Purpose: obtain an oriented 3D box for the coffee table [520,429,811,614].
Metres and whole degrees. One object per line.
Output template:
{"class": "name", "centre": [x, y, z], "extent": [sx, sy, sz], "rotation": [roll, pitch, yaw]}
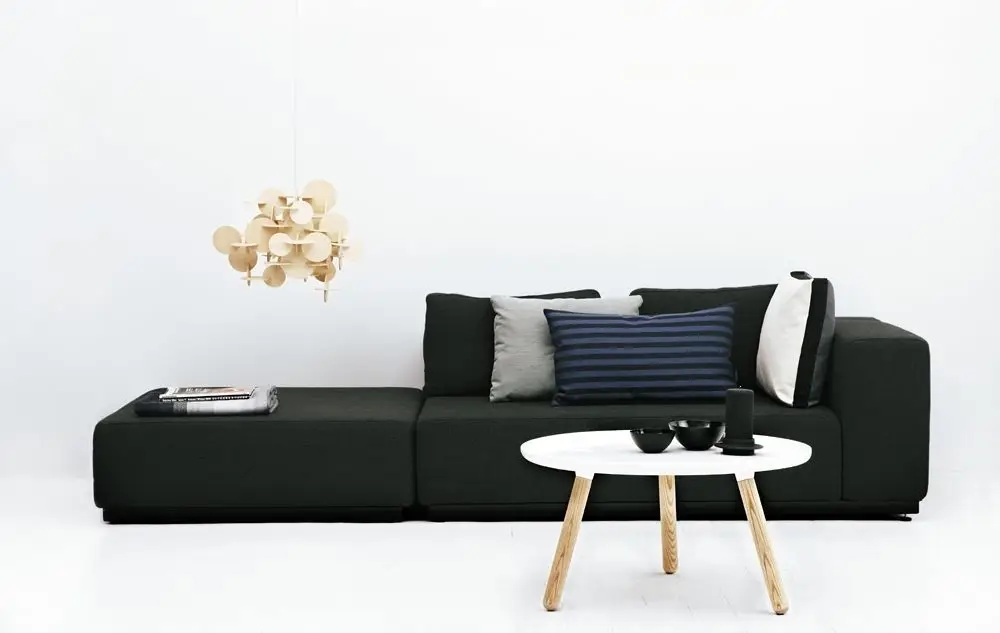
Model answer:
{"class": "coffee table", "centre": [0.702, 0.766, 4.144], "extent": [0.939, 1.005, 0.522], "rotation": [2, -95, -12]}
